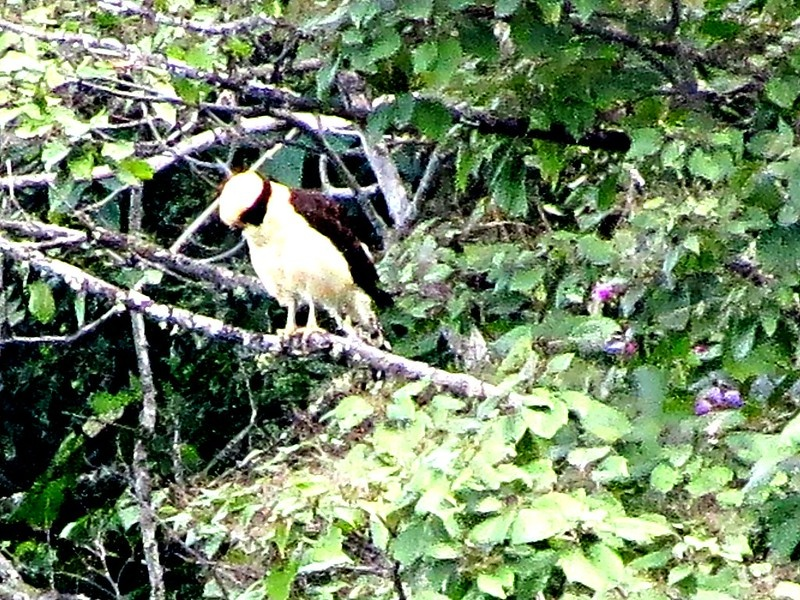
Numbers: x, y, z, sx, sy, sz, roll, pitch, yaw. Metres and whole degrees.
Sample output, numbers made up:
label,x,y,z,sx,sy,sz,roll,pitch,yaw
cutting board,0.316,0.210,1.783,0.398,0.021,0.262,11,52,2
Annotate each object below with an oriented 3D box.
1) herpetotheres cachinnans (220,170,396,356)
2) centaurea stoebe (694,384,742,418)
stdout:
label,x,y,z,sx,sy,sz,roll,pitch,yaw
herpetotheres cachinnans,-0.406,-0.203,7.087,0.490,0.779,1.050,-14,-15,38
centaurea stoebe,1.116,0.342,5.447,0.140,0.100,0.068,-1,2,-6
